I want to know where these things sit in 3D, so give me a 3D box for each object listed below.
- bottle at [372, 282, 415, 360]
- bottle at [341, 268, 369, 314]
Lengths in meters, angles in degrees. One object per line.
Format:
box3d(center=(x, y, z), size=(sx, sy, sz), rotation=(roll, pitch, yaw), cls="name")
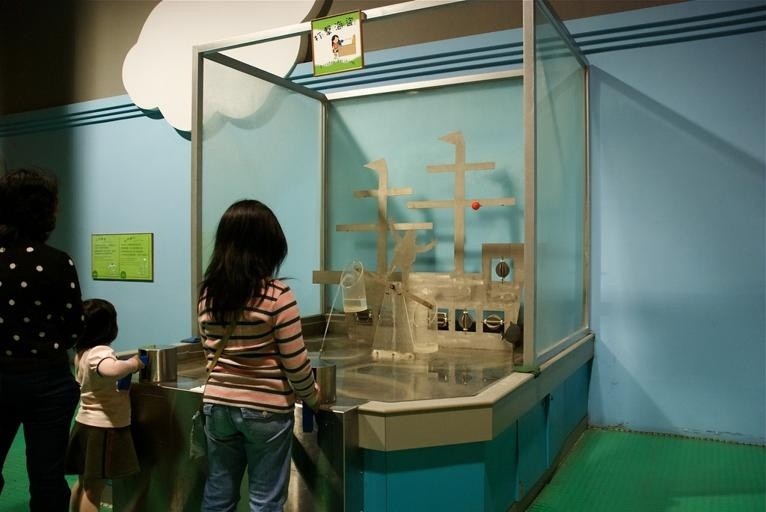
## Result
box3d(center=(0.075, 0.457, 3.869), size=(0.255, 0.577, 0.309), rotation=(-2, -22, 3), cls="bottle")
box3d(center=(-0.198, 0.246, 3.984), size=(0.177, 0.405, 0.381), rotation=(-2, 12, -3), cls="bottle")
